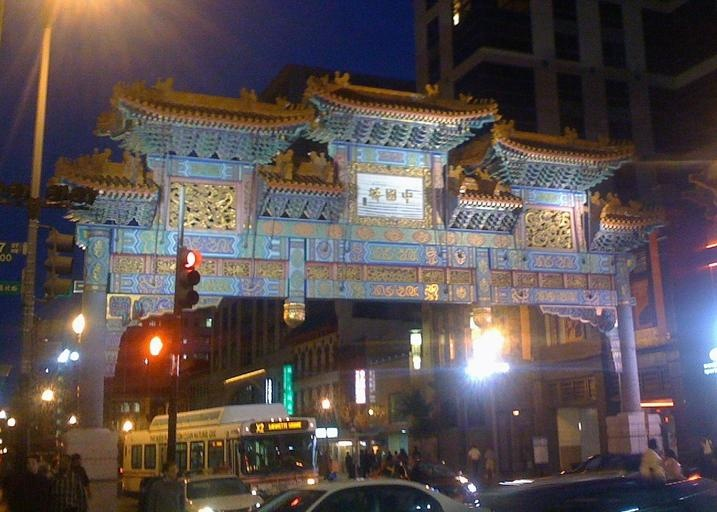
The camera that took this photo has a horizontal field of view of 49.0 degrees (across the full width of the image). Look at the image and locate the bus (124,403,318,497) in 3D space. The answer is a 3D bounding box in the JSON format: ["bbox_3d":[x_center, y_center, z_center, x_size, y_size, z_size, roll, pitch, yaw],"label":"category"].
[{"bbox_3d":[-6.412,8.645,34.965,4.107,4.015,12.198,9,-17,-40],"label":"bus"}]
